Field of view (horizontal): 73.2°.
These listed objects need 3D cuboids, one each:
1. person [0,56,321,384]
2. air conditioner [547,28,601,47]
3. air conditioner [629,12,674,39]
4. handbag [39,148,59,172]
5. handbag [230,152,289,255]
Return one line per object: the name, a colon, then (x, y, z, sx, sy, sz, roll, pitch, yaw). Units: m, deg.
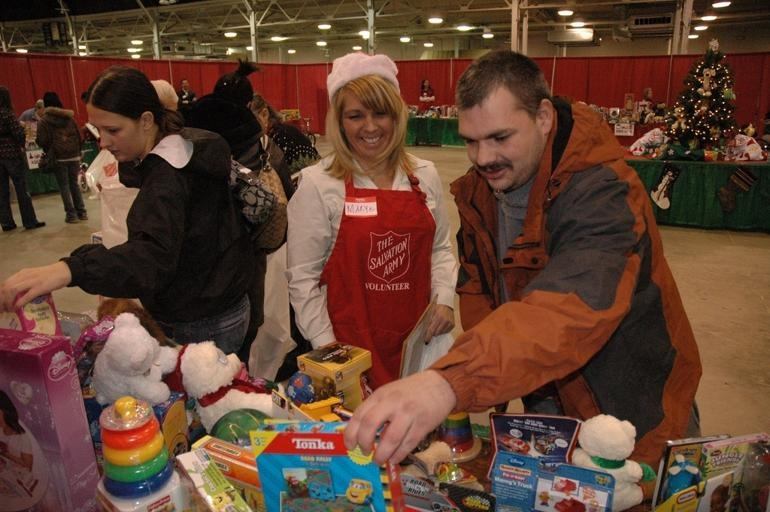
person: (-0.857, -0.349, 2.592, 1.019, 1.879, 1.393, -7, 51, -16)
air conditioner: (7.061, -8.225, 19.502, 1.471, 0.513, 1.997, 6, 14, 26)
air conditioner: (8.777, -7.590, 17.187, 1.312, 0.520, 1.514, 5, 14, 24)
handbag: (-4.854, -1.382, 7.534, 0.335, 0.355, 0.154, 9, 18, 25)
handbag: (-0.532, -0.203, 2.235, 0.155, 0.409, 0.303, -13, 8, 11)
